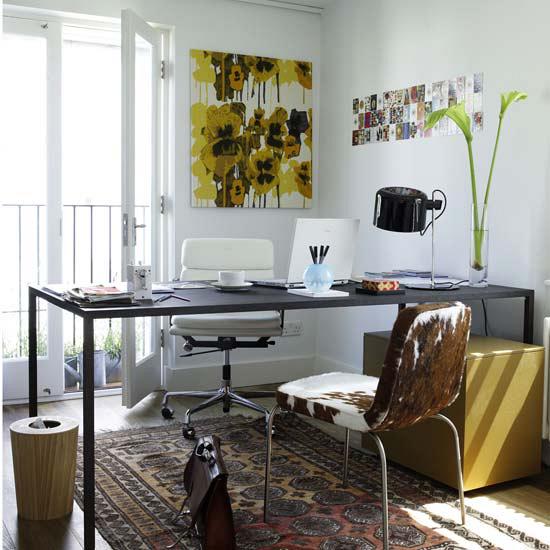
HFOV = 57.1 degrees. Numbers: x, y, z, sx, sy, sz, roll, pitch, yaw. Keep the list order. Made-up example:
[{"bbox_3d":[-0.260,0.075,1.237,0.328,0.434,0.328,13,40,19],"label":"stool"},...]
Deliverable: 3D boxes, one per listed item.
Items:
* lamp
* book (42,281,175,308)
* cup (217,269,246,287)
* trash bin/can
[{"bbox_3d":[0.733,-0.174,2.522,0.340,0.471,0.708,1,2,25],"label":"lamp"},{"bbox_3d":[-0.626,0.075,2.004,0.449,0.054,0.557,-1,3,-39],"label":"book"},{"bbox_3d":[-0.195,0.023,2.260,0.071,0.060,0.083,0,-4,7],"label":"cup"},{"bbox_3d":[-0.887,0.745,1.945,0.229,0.361,0.224,-1,2,-29],"label":"trash bin/can"}]
